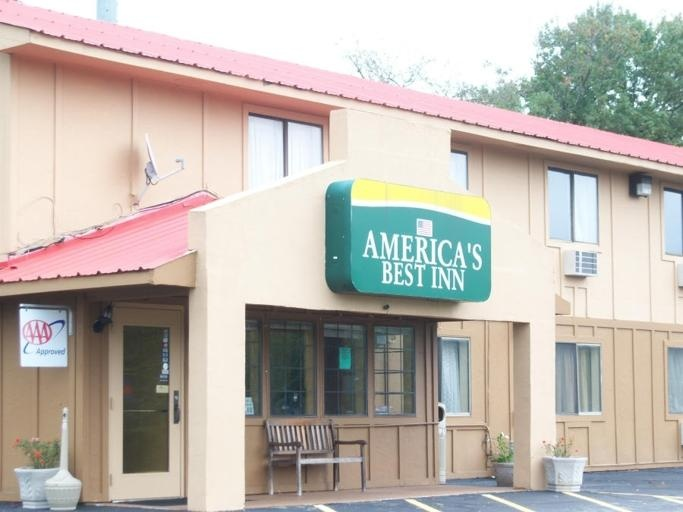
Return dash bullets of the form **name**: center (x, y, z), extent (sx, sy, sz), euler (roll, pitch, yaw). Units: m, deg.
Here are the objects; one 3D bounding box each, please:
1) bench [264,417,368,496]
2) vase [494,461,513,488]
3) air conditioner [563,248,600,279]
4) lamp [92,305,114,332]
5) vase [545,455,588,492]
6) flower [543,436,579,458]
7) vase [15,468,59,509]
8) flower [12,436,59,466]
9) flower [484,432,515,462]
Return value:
- **bench**: center (-0.431, 3.589, 20.932), extent (0.889, 1.363, 2.002), euler (-7, -11, 37)
- **vase**: center (3.261, 4.421, 23.674), extent (0.528, 0.469, 0.292), euler (-14, -15, 43)
- **air conditioner**: center (5.479, 0.167, 26.738), extent (0.854, 0.642, 0.328), euler (4, -12, -33)
- **lamp**: center (-3.932, 1.023, 19.331), extent (0.342, 0.470, 0.253), euler (-1, -11, -12)
- **vase**: center (4.125, 4.007, 21.555), extent (0.633, 0.519, 0.733), euler (-2, -7, 15)
- **flower**: center (4.398, 3.858, 23.491), extent (0.894, 0.406, 0.883), euler (-5, -8, 18)
- **vase**: center (-4.843, 3.719, 18.639), extent (0.671, 0.669, 0.257), euler (-7, -11, 18)
- **flower**: center (-4.925, 3.215, 18.989), extent (0.591, 0.433, 0.577), euler (1, -2, -45)
- **flower**: center (3.388, 4.054, 24.771), extent (0.618, 0.702, 0.605), euler (4, -14, -17)
